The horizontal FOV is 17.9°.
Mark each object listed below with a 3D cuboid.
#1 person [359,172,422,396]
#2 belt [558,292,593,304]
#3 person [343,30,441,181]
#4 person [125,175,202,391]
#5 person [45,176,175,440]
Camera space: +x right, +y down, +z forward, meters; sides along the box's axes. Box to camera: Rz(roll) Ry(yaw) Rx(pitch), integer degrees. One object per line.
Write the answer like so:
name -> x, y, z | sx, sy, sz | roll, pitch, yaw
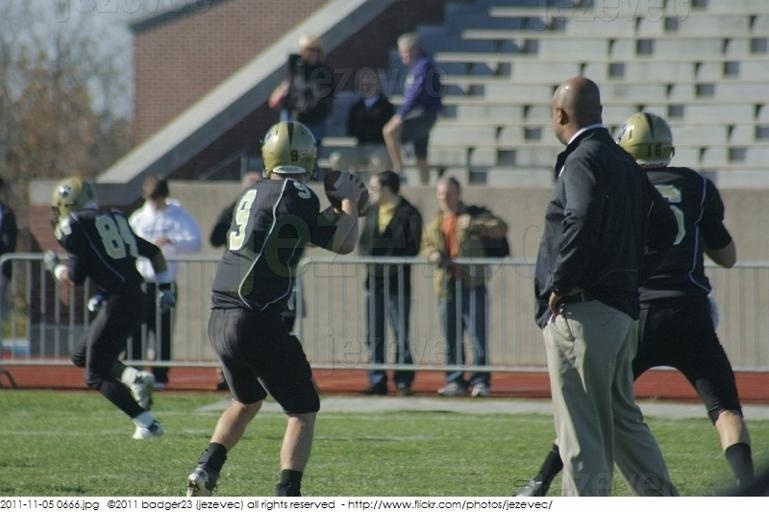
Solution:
person -> 0.143, 0.297, 31.810 | 1.021, 2.662, 0.687 | -2, -4, -21
belt -> 2.199, 0.452, 27.871 | 0.360, 0.131, 0.044 | 0, -1, 3
person -> 0.276, -2.075, 33.252 | 1.206, 1.960, 0.861 | 3, -9, -7
person -> -2.962, 0.270, 32.135 | 1.173, 2.523, 1.080 | 1, -8, -4
person -> -3.377, 0.679, 30.334 | 1.327, 3.443, 1.201 | 0, -1, 4
